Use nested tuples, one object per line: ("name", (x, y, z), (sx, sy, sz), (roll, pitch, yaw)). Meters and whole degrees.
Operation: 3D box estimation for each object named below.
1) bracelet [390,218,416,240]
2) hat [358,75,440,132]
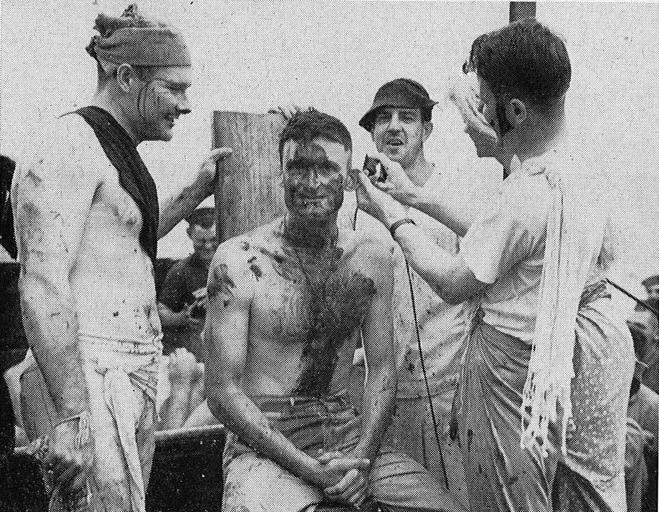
("bracelet", (0.300, -0.127, 6.268), (0.083, 0.033, 0.080), (-39, -30, 27))
("hat", (0.276, -0.653, 6.330), (0.243, 0.143, 0.195), (-9, -3, 0))
